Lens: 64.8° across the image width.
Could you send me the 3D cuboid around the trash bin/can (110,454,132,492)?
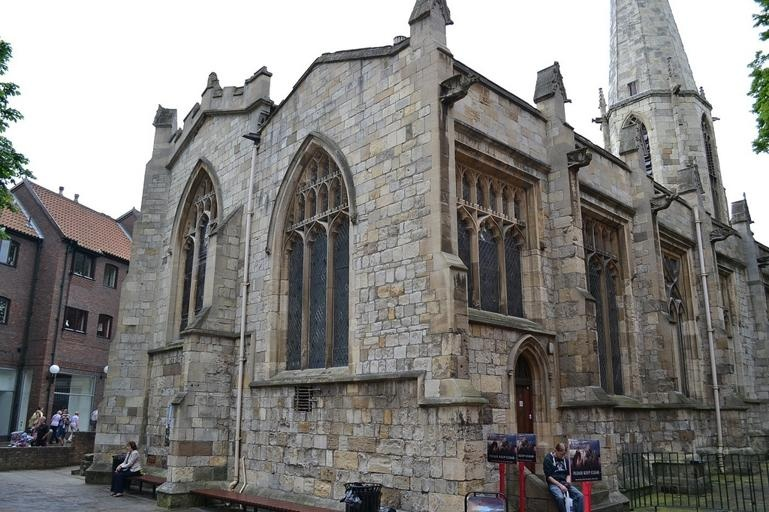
[{"bbox_3d":[-9.881,8.267,22.761,0.631,1.170,1.325,10,-24,-20],"label":"trash bin/can"}]
